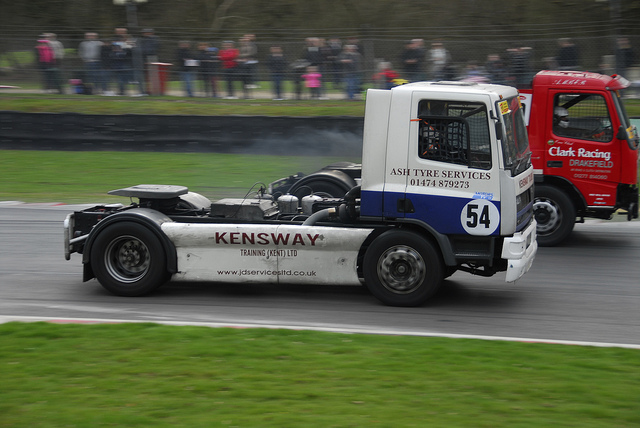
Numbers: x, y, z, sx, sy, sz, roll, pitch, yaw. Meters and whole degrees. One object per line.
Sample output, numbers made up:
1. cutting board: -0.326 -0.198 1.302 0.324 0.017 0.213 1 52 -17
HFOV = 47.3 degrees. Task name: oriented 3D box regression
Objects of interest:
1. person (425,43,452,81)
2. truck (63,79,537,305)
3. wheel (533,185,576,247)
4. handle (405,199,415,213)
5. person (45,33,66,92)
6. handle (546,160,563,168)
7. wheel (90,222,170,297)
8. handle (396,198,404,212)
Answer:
1. person: 3.448 -4.284 20.793 0.705 0.855 0.765 -1 13 -1
2. truck: 0.719 -0.301 11.154 7.958 1.783 3.657 0 6 13
3. wheel: 4.216 0.039 13.048 0.721 1.103 0.351 1 16 7
4. handle: 1.262 -0.109 10.117 0.130 0.186 0.037 -1 16 0
5. person: -8.336 -4.637 22.815 0.684 1.547 0.680 -2 15 -4
6. handle: 4.201 -0.889 12.982 0.367 0.123 0.154 1 0 11
7. wheel: -2.604 0.647 10.904 1.863 1.123 0.691 -6 -6 40
8. handle: 1.129 -0.127 10.134 0.106 0.188 0.025 0 16 4
